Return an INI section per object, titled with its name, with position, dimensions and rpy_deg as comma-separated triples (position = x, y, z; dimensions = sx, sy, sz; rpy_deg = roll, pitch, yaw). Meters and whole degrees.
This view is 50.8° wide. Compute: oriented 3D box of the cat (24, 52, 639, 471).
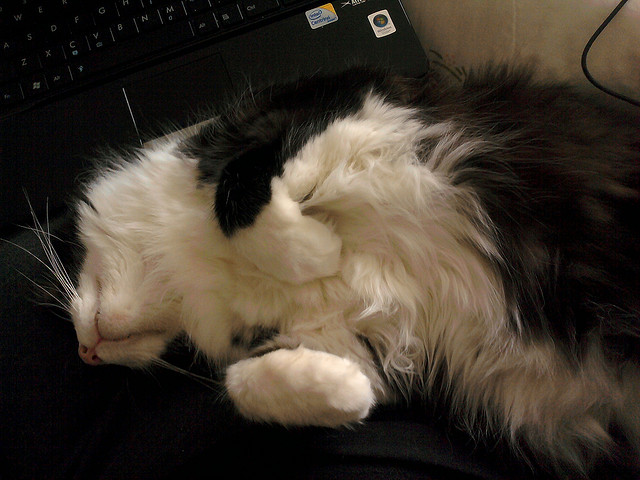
[cat]
position = 0.063, -0.042, 1.272
dimensions = 0.957, 0.622, 0.463
rpy_deg = -6, 15, -6
